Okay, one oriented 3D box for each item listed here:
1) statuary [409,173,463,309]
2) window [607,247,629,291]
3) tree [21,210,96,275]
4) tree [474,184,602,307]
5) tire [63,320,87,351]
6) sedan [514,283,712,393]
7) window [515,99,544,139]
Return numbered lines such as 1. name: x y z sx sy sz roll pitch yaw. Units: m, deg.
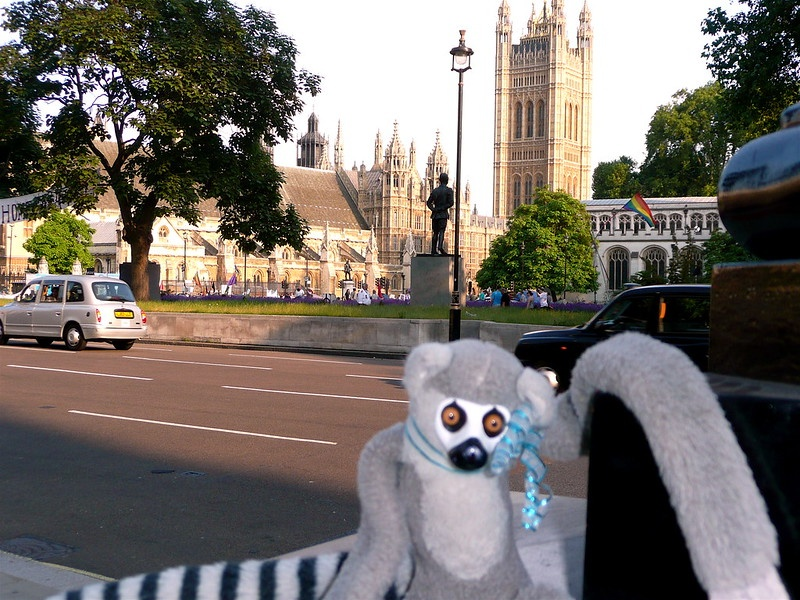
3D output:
1. statuary: 0.884 -1.532 24.524 1.328 3.362 2.898 -2 6 3
2. window: 20.158 -2.624 87.908 1.826 4.639 0.318 1 30 13
3. tree: -30.591 -4.913 85.522 5.086 7.177 5.791 7 17 3
4. tree: 10.705 -3.946 69.661 7.480 8.582 7.665 0 1 -32
5. tire: -7.233 0.779 21.110 0.482 0.530 0.206 -21 -12 22
6. sedan: 2.887 0.318 12.523 2.367 1.396 1.488 4 -1 29
7. window: 18.455 -25.548 134.440 0.512 6.887 5.432 3 -3 -45
